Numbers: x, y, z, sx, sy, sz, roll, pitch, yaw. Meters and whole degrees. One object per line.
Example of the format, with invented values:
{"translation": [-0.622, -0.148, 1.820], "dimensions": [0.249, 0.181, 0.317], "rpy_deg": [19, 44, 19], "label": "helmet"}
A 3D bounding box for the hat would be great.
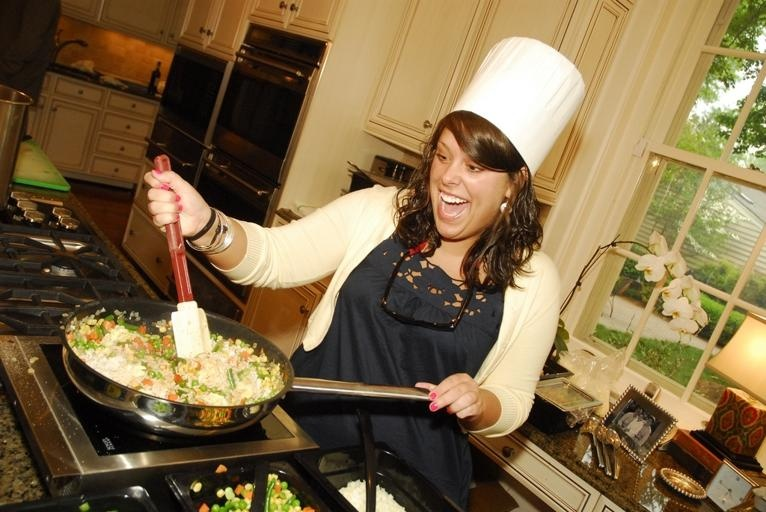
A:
{"translation": [0.440, -0.527, 1.843], "dimensions": [0.470, 0.389, 0.435], "rpy_deg": [27, -23, 16], "label": "hat"}

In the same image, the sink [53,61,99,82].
{"translation": [-3.300, -1.987, 5.414], "dimensions": [0.374, 0.133, 0.253], "rpy_deg": [-1, 16, -44], "label": "sink"}

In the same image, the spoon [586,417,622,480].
{"translation": [1.002, 0.887, 2.280], "dimensions": [0.095, 0.033, 0.220], "rpy_deg": [21, 24, -12], "label": "spoon"}

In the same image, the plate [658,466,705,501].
{"translation": [1.272, 0.971, 2.144], "dimensions": [0.119, 0.024, 0.131], "rpy_deg": [2, 24, -45], "label": "plate"}

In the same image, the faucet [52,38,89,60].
{"translation": [-3.413, -2.242, 5.522], "dimensions": [0.272, 0.258, 0.613], "rpy_deg": [7, 24, -31], "label": "faucet"}

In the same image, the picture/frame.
{"translation": [1.187, 0.797, 2.356], "dimensions": [0.020, 0.258, 0.248], "rpy_deg": [33, 15, -39], "label": "picture/frame"}

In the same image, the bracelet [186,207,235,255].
{"translation": [-0.492, -0.048, 1.423], "dimensions": [0.120, 0.137, 0.069], "rpy_deg": [-7, -19, -4], "label": "bracelet"}

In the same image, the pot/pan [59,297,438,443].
{"translation": [-0.407, 0.293, 1.259], "dimensions": [0.685, 0.127, 0.426], "rpy_deg": [17, 2, -8], "label": "pot/pan"}
